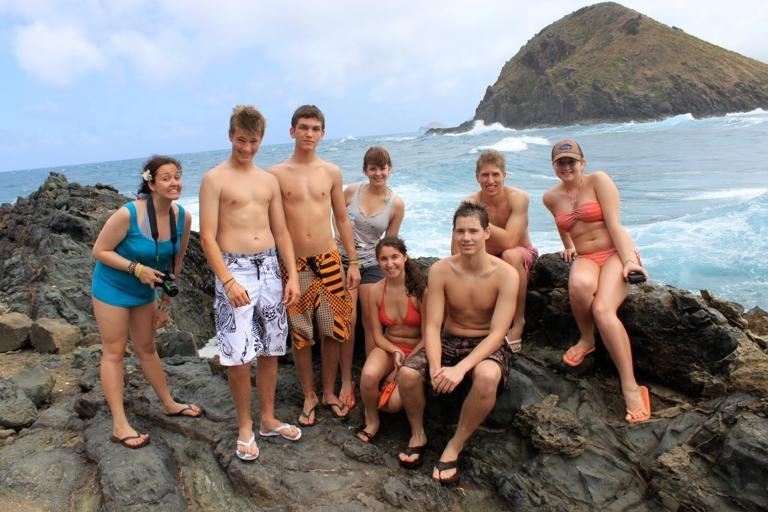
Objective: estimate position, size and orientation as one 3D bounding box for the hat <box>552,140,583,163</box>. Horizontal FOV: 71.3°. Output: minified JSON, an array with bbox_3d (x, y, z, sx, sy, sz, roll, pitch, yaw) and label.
[{"bbox_3d":[2.259,-1.282,6.520,0.261,0.203,0.371,-4,-5,25],"label":"hat"}]

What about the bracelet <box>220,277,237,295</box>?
[{"bbox_3d":[-1.592,0.301,5.484,0.039,0.143,0.112,41,18,-1],"label":"bracelet"}]

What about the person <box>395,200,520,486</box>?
[{"bbox_3d":[0.795,0.881,5.900,1.042,2.867,1.317,3,14,37],"label":"person"}]

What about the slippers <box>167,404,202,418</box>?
[{"bbox_3d":[-2.301,1.789,6.195,0.297,0.077,0.174,0,16,-6],"label":"slippers"}]

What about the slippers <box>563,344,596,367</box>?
[{"bbox_3d":[2.289,1.146,6.287,0.356,0.104,0.203,-33,33,-21],"label":"slippers"}]

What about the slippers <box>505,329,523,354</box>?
[{"bbox_3d":[1.658,1.063,6.724,0.168,0.444,0.167,-6,-1,30],"label":"slippers"}]

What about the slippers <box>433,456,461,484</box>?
[{"bbox_3d":[0.677,2.298,5.684,0.314,0.252,0.131,-8,11,-17],"label":"slippers"}]

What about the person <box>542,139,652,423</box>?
[{"bbox_3d":[2.453,0.202,6.225,1.340,3.091,0.954,3,14,37],"label":"person"}]

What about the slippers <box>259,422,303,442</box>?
[{"bbox_3d":[-1.138,1.927,5.892,0.385,0.135,0.208,0,15,0],"label":"slippers"}]

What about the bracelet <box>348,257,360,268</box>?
[{"bbox_3d":[-0.364,0.074,6.509,0.114,0.106,0.117,0,0,41],"label":"bracelet"}]

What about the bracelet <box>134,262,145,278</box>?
[{"bbox_3d":[-2.558,0.138,5.549,0.070,0.128,0.126,2,0,-10],"label":"bracelet"}]

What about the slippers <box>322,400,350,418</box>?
[{"bbox_3d":[-0.572,1.788,6.344,0.251,0.067,0.158,26,36,28],"label":"slippers"}]

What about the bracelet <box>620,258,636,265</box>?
[{"bbox_3d":[2.836,0.049,6.094,0.185,0.064,0.086,-6,10,-9],"label":"bracelet"}]
